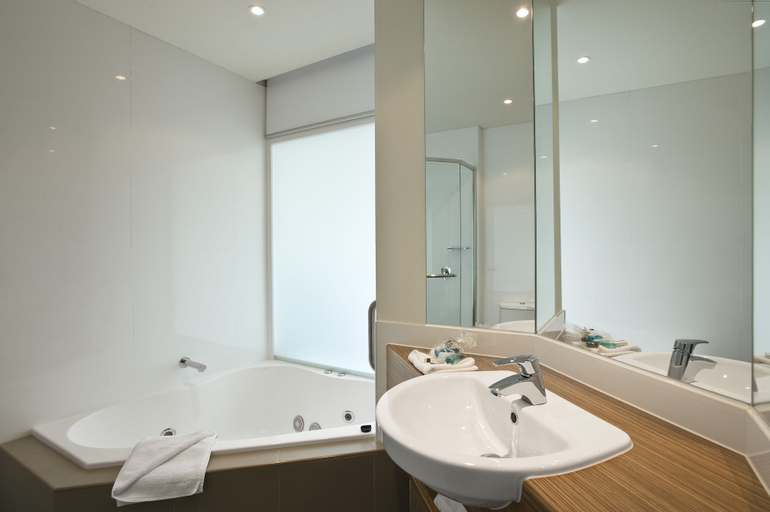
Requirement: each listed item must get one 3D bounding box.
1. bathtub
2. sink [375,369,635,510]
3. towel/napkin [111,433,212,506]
[{"bbox_3d":[-1.035,1.059,3.320,1.896,0.612,0.850,-1,-1,-40],"label":"bathtub"},{"bbox_3d":[0.350,0.629,1.773,0.521,0.178,0.591,-2,4,-15],"label":"sink"},{"bbox_3d":[-1.046,1.007,2.435,0.283,0.092,0.289,-1,13,3],"label":"towel/napkin"}]
